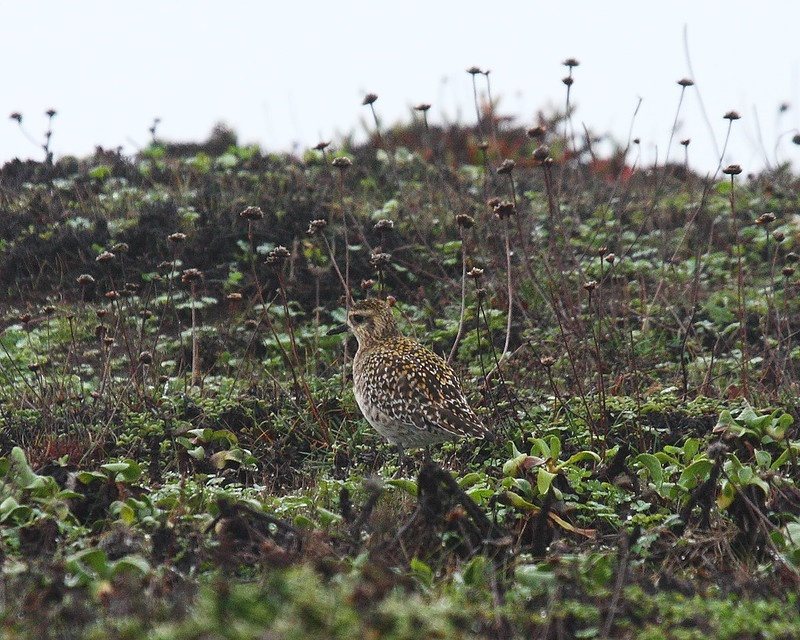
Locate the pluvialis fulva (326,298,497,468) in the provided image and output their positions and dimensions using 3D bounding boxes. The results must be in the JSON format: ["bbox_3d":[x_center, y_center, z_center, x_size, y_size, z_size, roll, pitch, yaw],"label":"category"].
[{"bbox_3d":[0.118,0.479,9.091,1.227,1.226,0.674,0,1,34],"label":"pluvialis fulva"}]
